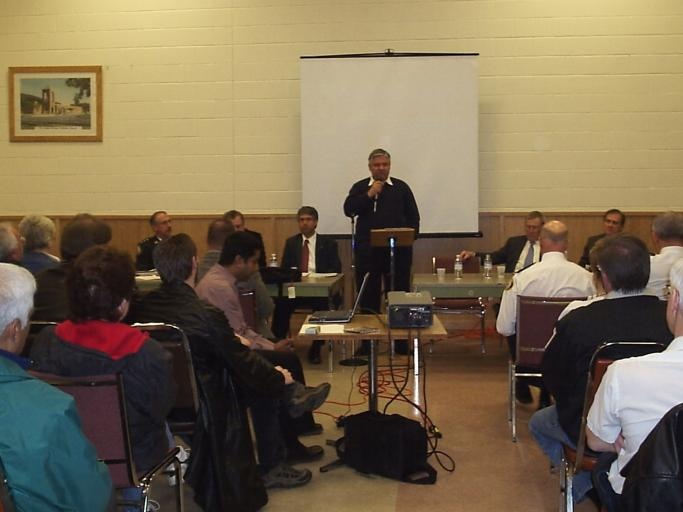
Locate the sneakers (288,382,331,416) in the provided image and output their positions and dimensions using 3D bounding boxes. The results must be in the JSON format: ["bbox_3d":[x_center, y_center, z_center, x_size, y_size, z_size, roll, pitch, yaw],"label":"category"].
[{"bbox_3d":[-0.197,0.826,4.286,0.260,0.182,0.135,-10,13,-43],"label":"sneakers"}]

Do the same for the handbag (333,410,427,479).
[{"bbox_3d":[0.224,1.135,4.561,0.602,0.395,0.461,-1,1,18],"label":"handbag"}]

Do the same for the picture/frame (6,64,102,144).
[{"bbox_3d":[-3.369,-1.832,8.672,0.816,0.734,0.035,0,2,0],"label":"picture/frame"}]

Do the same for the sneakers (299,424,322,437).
[{"bbox_3d":[-0.209,1.174,4.951,0.168,0.060,0.060,3,-3,-40],"label":"sneakers"}]

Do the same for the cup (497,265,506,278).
[{"bbox_3d":[1.448,0.143,6.692,0.092,0.113,0.094,-1,1,0],"label":"cup"}]

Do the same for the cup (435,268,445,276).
[{"bbox_3d":[0.877,0.141,6.457,0.063,0.057,0.070,0,-1,-16],"label":"cup"}]

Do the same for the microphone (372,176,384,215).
[{"bbox_3d":[0.382,-0.577,7.228,0.066,0.313,0.107,1,-20,29],"label":"microphone"}]

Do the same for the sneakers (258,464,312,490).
[{"bbox_3d":[-0.323,1.286,4.301,0.200,0.091,0.130,-2,5,2],"label":"sneakers"}]

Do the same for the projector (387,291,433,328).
[{"bbox_3d":[0.429,0.334,4.489,0.275,0.206,0.277,-1,5,-3],"label":"projector"}]

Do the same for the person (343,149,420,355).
[{"bbox_3d":[0.392,-0.022,7.277,0.742,2.179,0.591,0,-18,5],"label":"person"}]

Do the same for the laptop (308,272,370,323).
[{"bbox_3d":[-0.035,0.295,4.740,0.293,0.233,0.353,-1,-3,4],"label":"laptop"}]
